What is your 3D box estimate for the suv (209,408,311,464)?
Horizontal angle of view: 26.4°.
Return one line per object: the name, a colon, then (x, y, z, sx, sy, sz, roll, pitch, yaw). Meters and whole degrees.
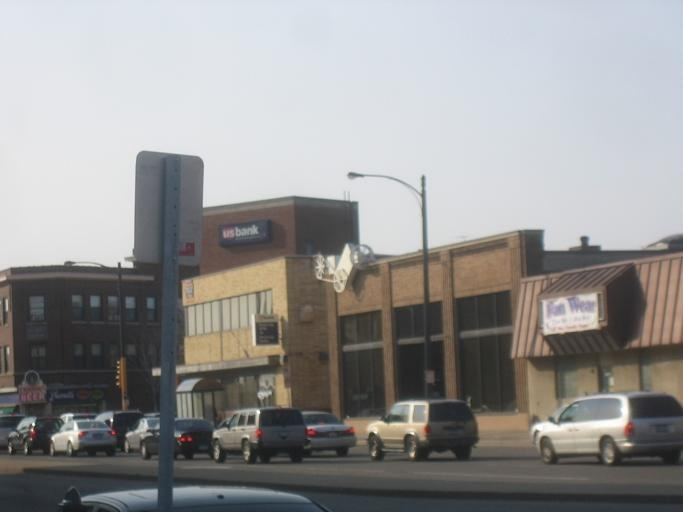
suv: (-3.498, 7.484, 61.756, 3.311, 2.593, 3.476, -2, -8, -25)
